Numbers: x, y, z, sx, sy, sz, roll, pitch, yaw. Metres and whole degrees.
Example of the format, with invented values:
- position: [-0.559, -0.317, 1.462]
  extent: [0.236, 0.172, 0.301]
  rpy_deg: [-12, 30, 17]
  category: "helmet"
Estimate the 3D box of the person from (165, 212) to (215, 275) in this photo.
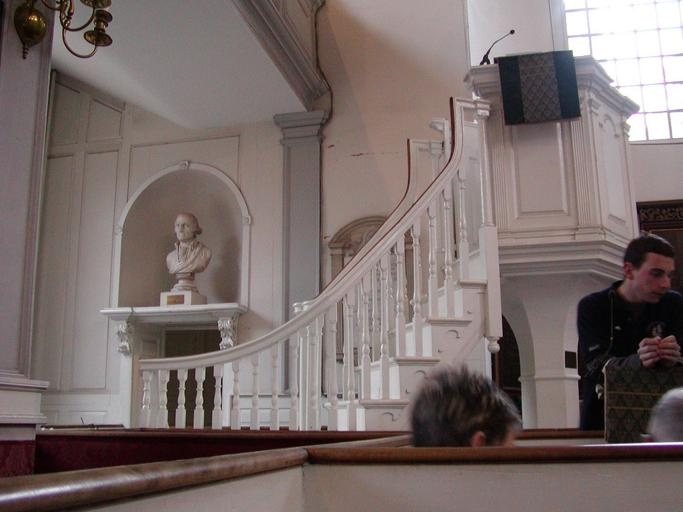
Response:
- position: [-1.850, -0.124, 7.453]
  extent: [0.537, 0.760, 0.303]
  rpy_deg: [-7, -13, 25]
  category: "person"
